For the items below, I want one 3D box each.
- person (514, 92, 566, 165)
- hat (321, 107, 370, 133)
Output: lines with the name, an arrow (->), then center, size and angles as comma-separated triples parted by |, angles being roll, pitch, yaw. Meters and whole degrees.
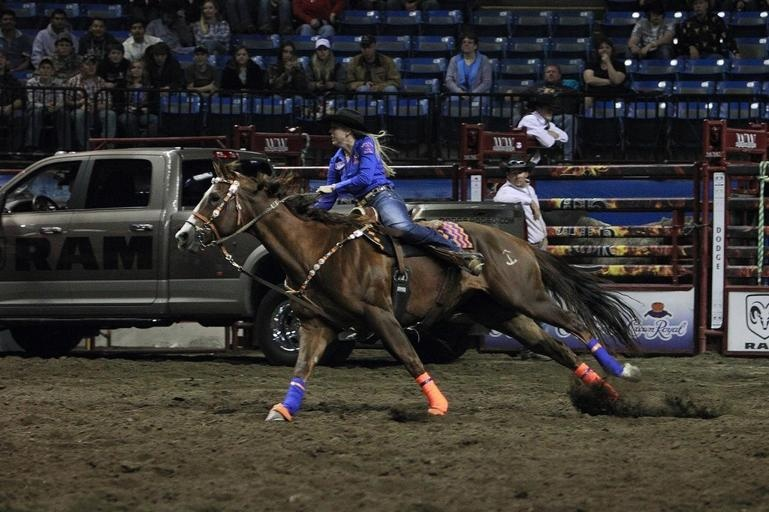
person -> 2.983, -2.382, 16.134 | 0.911, 1.283, 1.610 | 2, 5, 10
hat -> -0.354, -1.530, 9.531 | 0.515, 0.120, 0.372 | 14, -9, -21
